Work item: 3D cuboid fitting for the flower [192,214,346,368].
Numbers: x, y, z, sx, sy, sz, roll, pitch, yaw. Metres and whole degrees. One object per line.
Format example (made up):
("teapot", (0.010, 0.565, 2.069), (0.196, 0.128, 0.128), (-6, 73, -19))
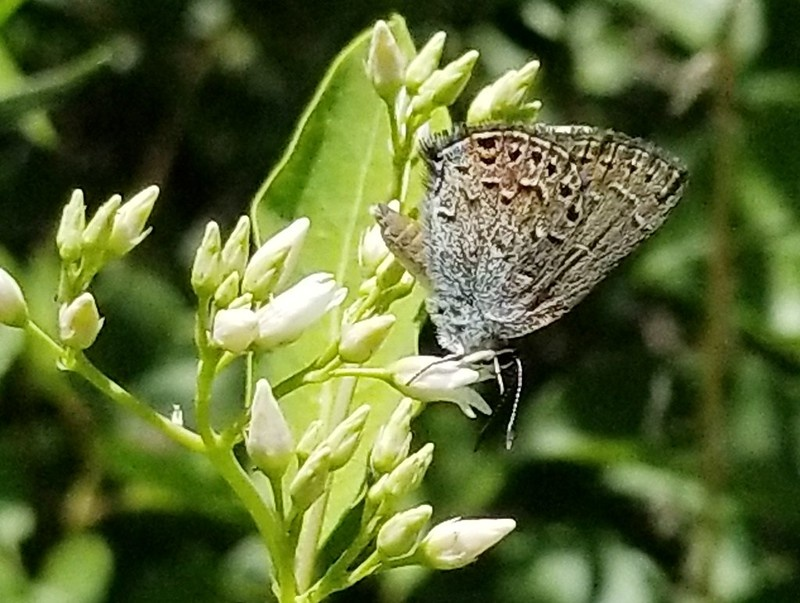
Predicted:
("flower", (-0.241, -0.038, 1.992), (0.309, 0.122, 0.244), (-31, 72, -15))

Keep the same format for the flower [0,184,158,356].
("flower", (-0.710, -0.051, 2.257), (0.286, 0.147, 0.345), (26, 102, 14))

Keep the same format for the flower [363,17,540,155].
("flower", (0.103, -0.474, 2.241), (0.391, 0.288, 0.272), (19, 103, -3))
